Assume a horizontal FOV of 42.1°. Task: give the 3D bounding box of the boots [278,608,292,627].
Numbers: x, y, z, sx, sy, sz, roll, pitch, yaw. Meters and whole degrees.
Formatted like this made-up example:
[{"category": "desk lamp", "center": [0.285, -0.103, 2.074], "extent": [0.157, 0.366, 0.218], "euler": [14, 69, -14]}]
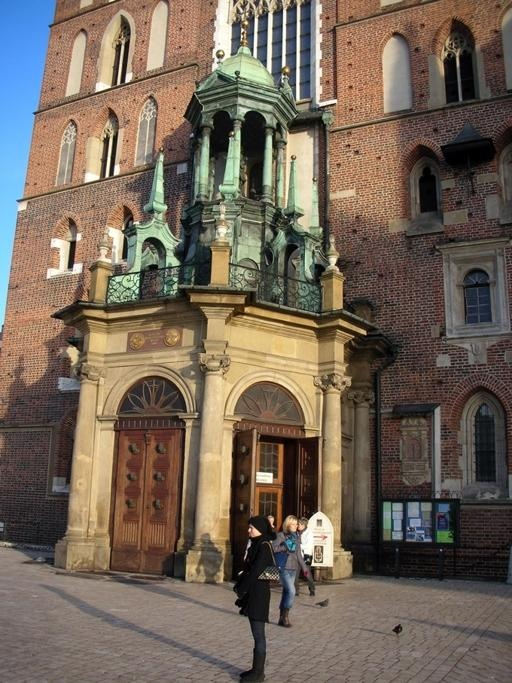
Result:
[{"category": "boots", "center": [0.355, 3.399, 8.196], "extent": [0.162, 0.192, 0.320], "euler": [3, -13, -5]}]
